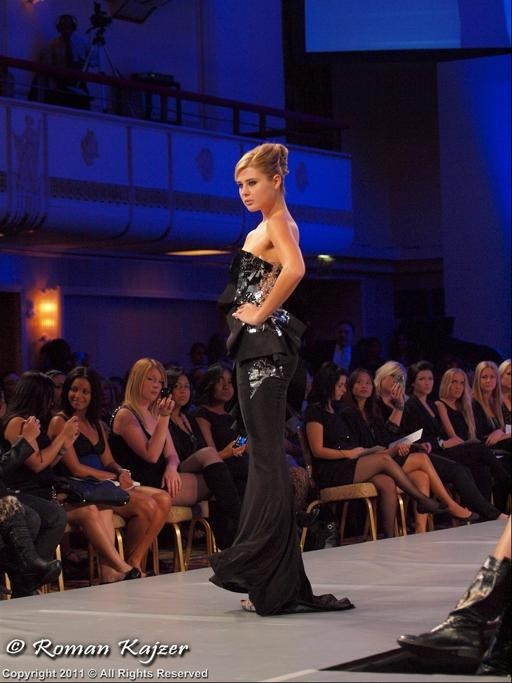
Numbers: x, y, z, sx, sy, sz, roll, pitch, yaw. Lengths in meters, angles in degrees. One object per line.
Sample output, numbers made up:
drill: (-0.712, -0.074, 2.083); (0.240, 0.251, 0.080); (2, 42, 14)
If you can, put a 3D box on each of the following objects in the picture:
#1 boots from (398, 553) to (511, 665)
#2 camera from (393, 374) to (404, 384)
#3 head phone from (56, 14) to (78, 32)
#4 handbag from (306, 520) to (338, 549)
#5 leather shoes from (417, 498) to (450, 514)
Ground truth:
boots: (0.521, 0.686, 1.699); (0.280, 0.273, 0.115); (-2, -2, 16)
camera: (1.272, 0.326, 5.750); (0.078, 0.034, 0.092); (4, 20, -7)
head phone: (-2.670, -4.477, 9.193); (0.269, 0.300, 0.175); (-2, 5, -1)
handbag: (0.456, 1.337, 4.488); (0.245, 0.194, 0.151); (2, -11, -5)
leather shoes: (1.343, 1.246, 4.940); (0.231, 0.089, 0.101); (-4, 2, -2)
